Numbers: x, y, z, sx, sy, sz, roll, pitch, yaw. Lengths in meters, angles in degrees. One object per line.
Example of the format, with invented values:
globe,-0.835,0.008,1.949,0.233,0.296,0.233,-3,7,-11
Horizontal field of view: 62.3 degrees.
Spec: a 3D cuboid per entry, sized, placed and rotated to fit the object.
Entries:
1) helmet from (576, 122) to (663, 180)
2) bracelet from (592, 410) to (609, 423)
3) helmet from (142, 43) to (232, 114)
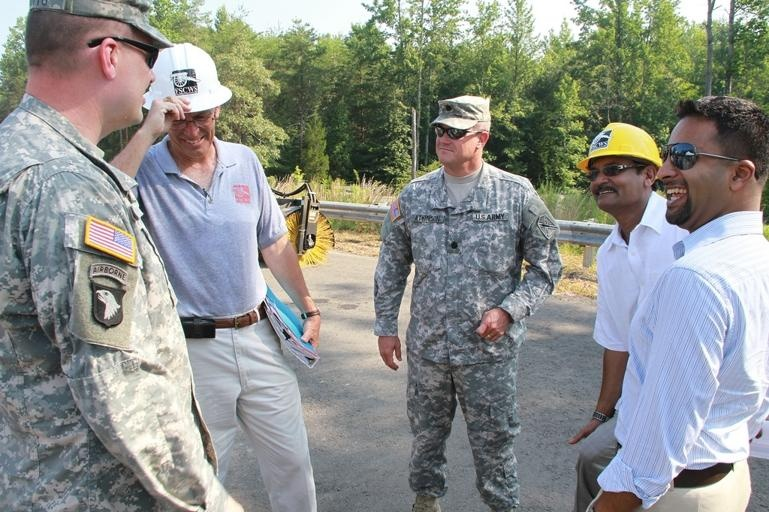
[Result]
helmet,1.460,-0.661,3.948,0.446,0.225,0.339,16,-14,-13
bracelet,1.227,0.916,3.629,0.077,0.034,0.063,23,4,11
helmet,-1.075,-0.982,3.555,0.508,0.297,0.563,-5,18,-21
